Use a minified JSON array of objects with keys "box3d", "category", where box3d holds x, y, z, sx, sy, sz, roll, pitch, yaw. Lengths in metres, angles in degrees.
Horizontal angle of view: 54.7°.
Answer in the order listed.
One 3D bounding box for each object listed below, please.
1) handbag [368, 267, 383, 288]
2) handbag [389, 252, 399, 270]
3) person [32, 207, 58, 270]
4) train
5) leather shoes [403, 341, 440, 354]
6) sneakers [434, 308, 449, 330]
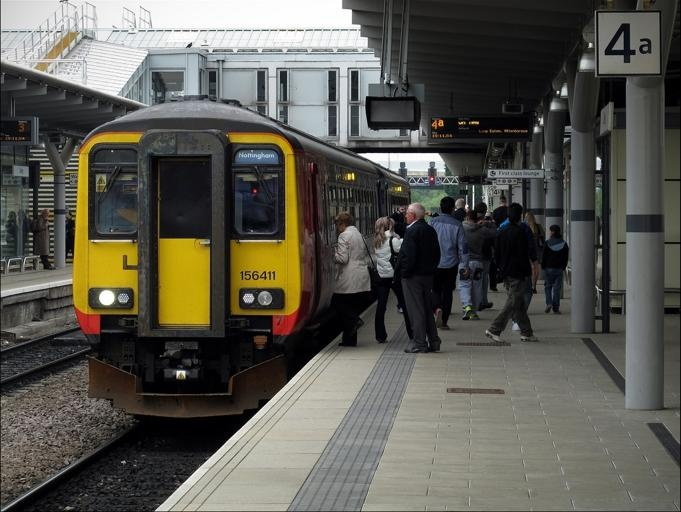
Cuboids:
[{"box3d":[0.607,0.371,11.540,0.146,0.310,0.284,-14,13,-26],"category":"handbag"},{"box3d":[0.929,0.074,11.697,0.077,0.245,0.150,14,-15,-39],"category":"handbag"},{"box3d":[-11.775,-0.677,26.281,0.722,2.383,1.418,-1,1,-25],"category":"person"},{"box3d":[-1.331,-0.004,14.683,2.575,4.352,12.976,0,1,6],"category":"train"},{"box3d":[1.337,1.519,10.869,0.585,0.299,0.219,3,-1,7],"category":"leather shoes"},{"box3d":[1.971,1.212,12.992,0.141,0.486,0.189,-9,22,-18],"category":"sneakers"}]
